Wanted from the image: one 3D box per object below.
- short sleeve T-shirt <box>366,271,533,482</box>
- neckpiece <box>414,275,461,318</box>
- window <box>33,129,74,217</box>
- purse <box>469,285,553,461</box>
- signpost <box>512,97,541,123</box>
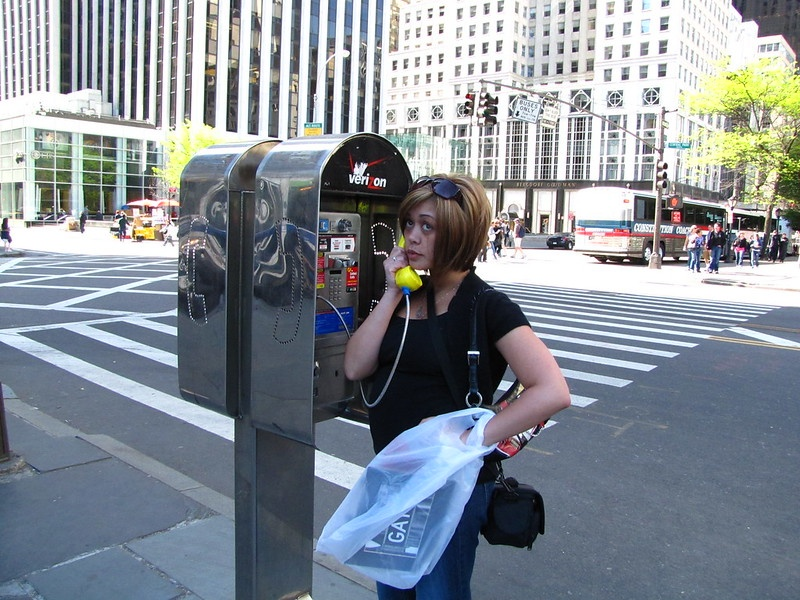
[{"bbox_3d":[0.183,0.322,2.695,0.513,0.999,0.952,5,-11,-27],"label":"short sleeve T-shirt"},{"bbox_3d":[0.160,-0.009,2.777,0.140,0.226,0.070,3,-8,21],"label":"neckpiece"},{"bbox_3d":[-25.663,-9.171,48.060,2.780,7.038,0.309,-12,38,-43],"label":"window"},{"bbox_3d":[0.457,0.362,2.751,0.318,0.816,0.475,3,7,14],"label":"purse"},{"bbox_3d":[5.249,-7.979,26.963,1.057,1.039,1.358,2,8,8],"label":"signpost"}]
